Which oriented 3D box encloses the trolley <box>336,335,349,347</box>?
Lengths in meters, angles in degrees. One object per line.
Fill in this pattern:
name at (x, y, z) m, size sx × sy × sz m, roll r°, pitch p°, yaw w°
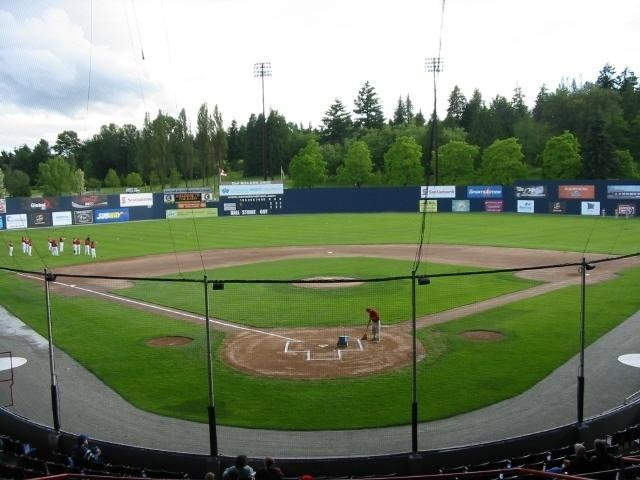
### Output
trolley at (1.329, 5.241, 47.419) m, size 0.579 × 0.513 × 0.629 m, roll -3°, pitch 6°, yaw 2°
